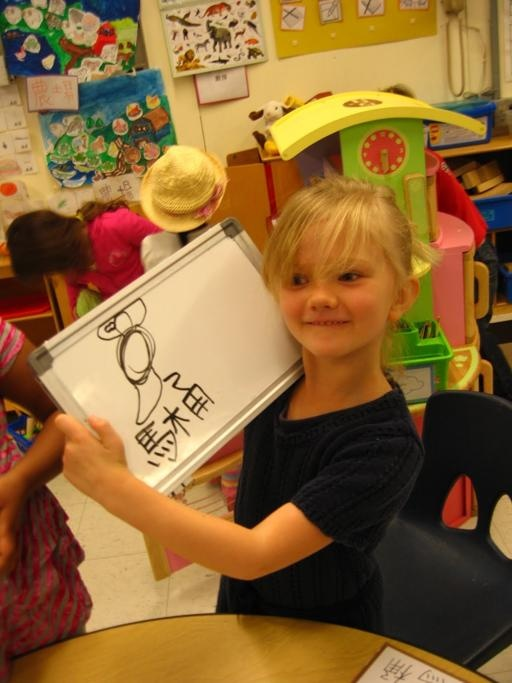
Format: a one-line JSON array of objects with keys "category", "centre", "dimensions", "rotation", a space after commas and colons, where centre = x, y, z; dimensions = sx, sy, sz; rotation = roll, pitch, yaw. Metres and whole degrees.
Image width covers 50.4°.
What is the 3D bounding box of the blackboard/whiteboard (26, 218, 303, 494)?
[{"category": "blackboard/whiteboard", "centre": [-0.173, 0.034, 0.845], "dimensions": [0.473, 0.325, 0.111], "rotation": [-39, 12, -26]}]
